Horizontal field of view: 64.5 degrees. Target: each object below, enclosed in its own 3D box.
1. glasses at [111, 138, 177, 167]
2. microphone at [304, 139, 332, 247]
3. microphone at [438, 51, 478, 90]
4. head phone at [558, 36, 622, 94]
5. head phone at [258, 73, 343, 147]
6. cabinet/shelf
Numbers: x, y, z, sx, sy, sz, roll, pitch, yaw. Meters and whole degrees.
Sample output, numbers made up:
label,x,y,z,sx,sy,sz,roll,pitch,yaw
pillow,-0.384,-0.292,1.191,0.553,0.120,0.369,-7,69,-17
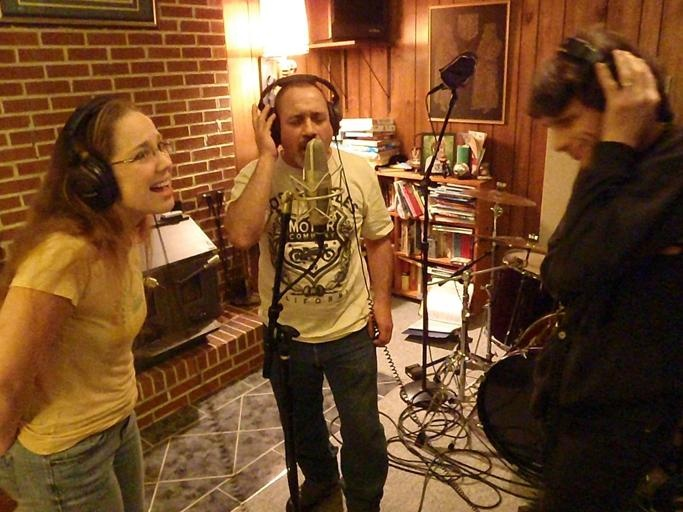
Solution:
label,x,y,z,sx,sy,sz,roll,pitch,yaw
glasses,-0.589,-0.291,1.609,0.118,0.038,0.094,-7,20,27
microphone,-0.073,-0.187,1.623,0.083,0.316,0.080,-1,13,-3
microphone,0.589,-0.908,2.671,0.152,0.193,0.271,5,14,22
head phone,0.641,-0.487,1.398,0.134,0.049,0.095,16,23,-35
head phone,-0.155,-0.579,2.145,0.315,0.276,0.121,-7,-6,-6
cabinet/shelf,0.618,-0.095,3.522,0.946,0.950,0.292,13,20,37
